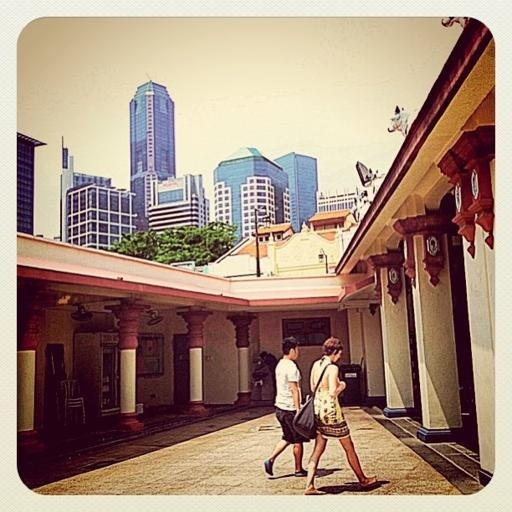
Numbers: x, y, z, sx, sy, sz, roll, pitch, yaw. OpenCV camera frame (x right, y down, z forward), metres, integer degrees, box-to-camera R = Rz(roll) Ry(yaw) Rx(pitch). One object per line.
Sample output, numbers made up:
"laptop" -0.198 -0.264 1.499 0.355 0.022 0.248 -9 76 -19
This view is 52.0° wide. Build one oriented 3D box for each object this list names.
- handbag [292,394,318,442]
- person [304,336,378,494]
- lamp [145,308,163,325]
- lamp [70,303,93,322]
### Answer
"handbag" 0.497 1.664 5.363 0.199 0.479 0.434 0 -27 28
"person" 0.753 1.609 5.373 0.537 1.501 0.659 -4 -8 13
"lamp" -2.886 1.735 14.860 0.450 0.431 1.574 -1 -9 -13
"lamp" -4.022 1.347 12.170 0.462 0.365 0.455 9 -12 -42
